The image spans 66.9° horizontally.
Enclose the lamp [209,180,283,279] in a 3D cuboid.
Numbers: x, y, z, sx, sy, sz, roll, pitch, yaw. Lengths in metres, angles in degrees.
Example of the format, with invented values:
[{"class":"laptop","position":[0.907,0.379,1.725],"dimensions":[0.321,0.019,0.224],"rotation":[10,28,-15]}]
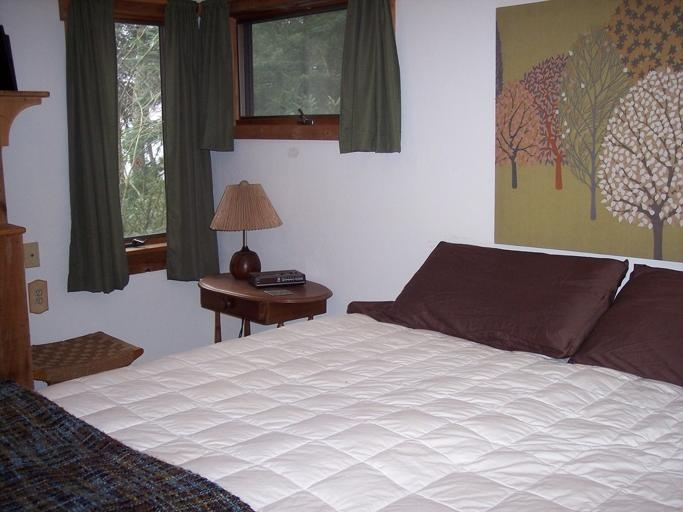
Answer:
[{"class":"lamp","position":[-0.588,-0.150,3.171],"dimensions":[0.336,0.605,0.270],"rotation":[7,13,28]}]
